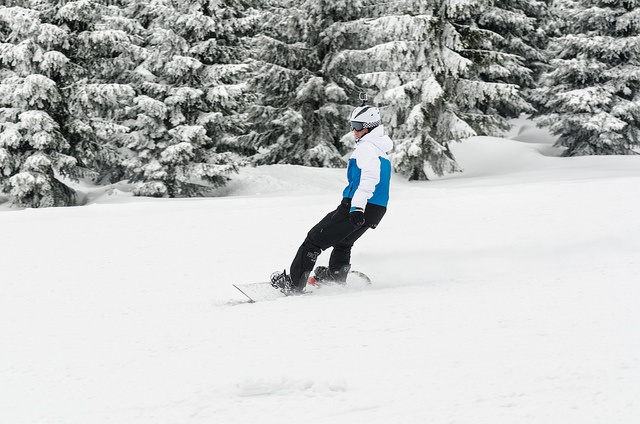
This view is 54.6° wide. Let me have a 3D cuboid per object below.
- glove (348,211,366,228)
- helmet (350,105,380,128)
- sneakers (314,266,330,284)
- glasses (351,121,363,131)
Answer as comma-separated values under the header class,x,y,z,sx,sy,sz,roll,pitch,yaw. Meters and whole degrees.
class,x,y,z,sx,sy,sz,roll,pitch,yaw
glove,0.575,0.105,9.743,0.238,0.265,0.190,0,9,4
helmet,0.739,-1.546,10.165,0.495,0.345,0.335,3,6,6
sneakers,0.010,1.038,10.306,0.284,0.223,0.232,-7,3,-28
glasses,0.592,-1.392,10.032,0.168,0.062,0.161,5,1,-32
